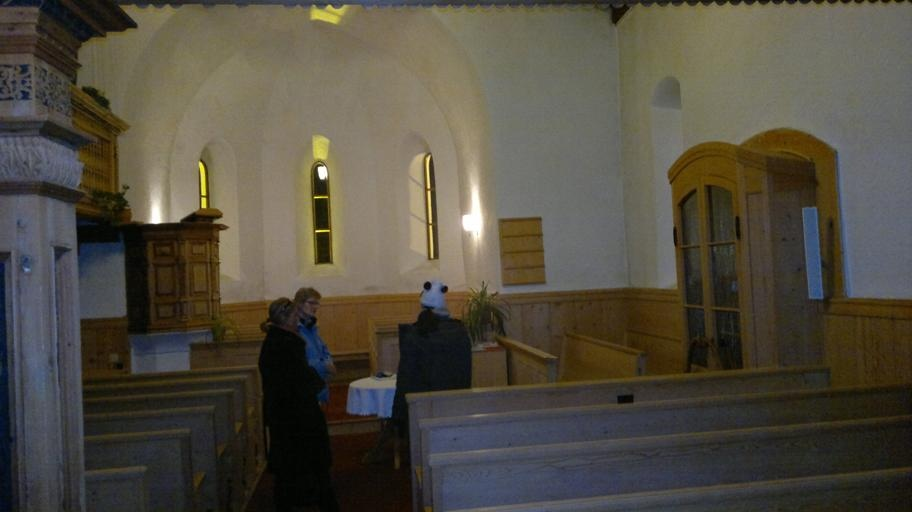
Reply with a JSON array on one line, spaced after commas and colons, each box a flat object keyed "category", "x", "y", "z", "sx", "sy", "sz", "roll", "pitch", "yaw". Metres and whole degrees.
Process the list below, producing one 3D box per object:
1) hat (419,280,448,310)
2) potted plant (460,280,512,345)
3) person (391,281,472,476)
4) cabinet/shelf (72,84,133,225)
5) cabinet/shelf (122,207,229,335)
[{"category": "hat", "x": -0.273, "y": 0.494, "z": 10.381, "sx": 0.335, "sy": 0.323, "sz": 0.342, "roll": 1, "pitch": -13, "yaw": -8}, {"category": "potted plant", "x": 0.539, "y": 0.844, "z": 11.896, "sx": 0.594, "sy": 0.786, "sz": 0.791, "roll": 2, "pitch": -7, "yaw": -18}, {"category": "person", "x": -0.156, "y": 1.270, "z": 10.244, "sx": 0.906, "sy": 2.068, "sz": 0.571, "roll": -3, "pitch": 29, "yaw": 3}, {"category": "cabinet/shelf", "x": -4.972, "y": -1.294, "z": 11.060, "sx": 0.513, "sy": 1.381, "sz": 1.602, "roll": -9, "pitch": -8, "yaw": 4}, {"category": "cabinet/shelf", "x": -4.091, "y": 0.193, "z": 12.553, "sx": 1.026, "sy": 1.790, "sz": 1.631, "roll": -1, "pitch": 0, "yaw": 32}]
